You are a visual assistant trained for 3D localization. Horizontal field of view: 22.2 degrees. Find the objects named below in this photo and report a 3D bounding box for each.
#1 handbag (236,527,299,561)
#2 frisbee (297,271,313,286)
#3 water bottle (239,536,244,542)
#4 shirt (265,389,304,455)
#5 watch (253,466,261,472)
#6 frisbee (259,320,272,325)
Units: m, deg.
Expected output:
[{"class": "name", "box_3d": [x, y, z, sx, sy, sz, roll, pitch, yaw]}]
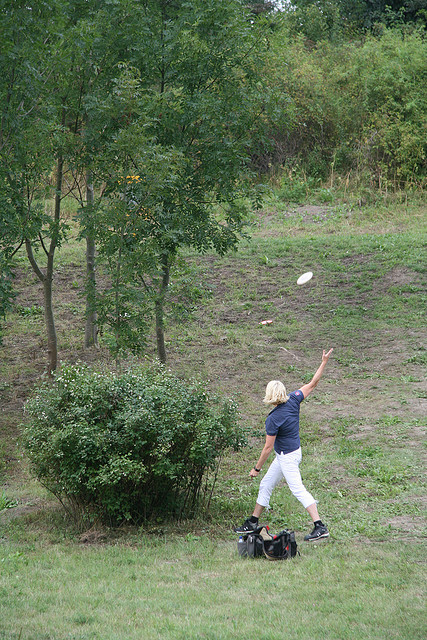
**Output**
[{"class": "handbag", "box_3d": [0.620, 2.605, 12.669, 0.489, 0.228, 0.380, 3, 1, 7]}, {"class": "frisbee", "box_3d": [2.031, -0.911, 24.128, 0.308, 0.293, 0.497, 2, 3, 19]}, {"class": "water bottle", "box_3d": [0.323, 2.576, 12.823, 0.047, 0.087, 0.047, -3, 5, 0]}, {"class": "shirt", "box_3d": [0.873, 1.214, 12.875, 0.570, 0.714, 0.311, -2, 4, -41]}, {"class": "watch", "box_3d": [0.508, 1.743, 12.814, 0.051, 0.016, 0.054, 41, -1, 30]}, {"class": "frisbee", "box_3d": [1.099, 0.040, 22.427, 0.219, 0.087, 0.187, 1, 3, 2]}]
